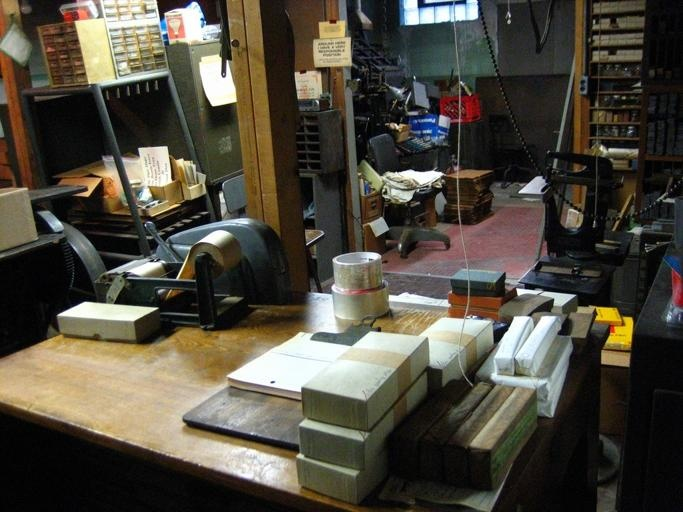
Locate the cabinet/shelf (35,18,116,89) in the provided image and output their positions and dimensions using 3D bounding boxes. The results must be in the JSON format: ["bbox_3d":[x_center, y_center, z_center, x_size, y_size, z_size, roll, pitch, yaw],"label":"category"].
[{"bbox_3d":[-1.965,-1.473,3.895,0.581,0.438,0.192,4,21,23],"label":"cabinet/shelf"}]
